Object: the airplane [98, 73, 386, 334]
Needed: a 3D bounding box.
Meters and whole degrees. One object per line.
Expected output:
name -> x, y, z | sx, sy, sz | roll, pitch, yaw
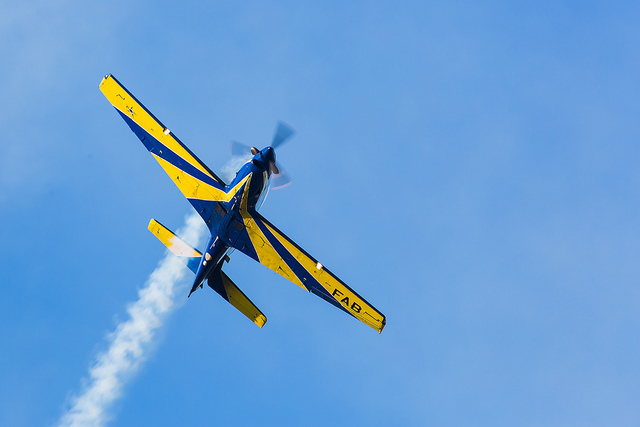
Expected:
airplane -> -6.408, 1.180, 67.235 | 22.961, 5.716, 14.907 | 35, -70, -1
